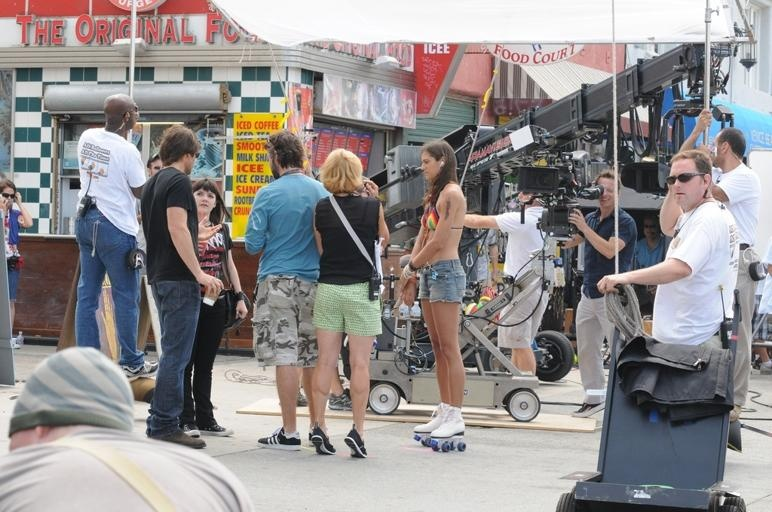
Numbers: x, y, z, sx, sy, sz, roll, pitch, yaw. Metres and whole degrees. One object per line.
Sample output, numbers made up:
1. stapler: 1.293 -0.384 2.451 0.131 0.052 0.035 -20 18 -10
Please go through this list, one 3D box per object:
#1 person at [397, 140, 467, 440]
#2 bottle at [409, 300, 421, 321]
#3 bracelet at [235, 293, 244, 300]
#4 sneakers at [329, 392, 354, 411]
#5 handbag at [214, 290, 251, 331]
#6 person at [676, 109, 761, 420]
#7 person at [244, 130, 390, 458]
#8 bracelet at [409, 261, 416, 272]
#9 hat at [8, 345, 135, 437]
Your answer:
1. person: 0.443 0.277 10.065 0.420 2.563 0.687 -2 7 -29
2. bottle: 0.288 0.517 11.025 0.174 0.161 0.158 1 -8 -3
3. bracelet: -1.311 0.365 10.310 0.052 0.053 0.061 -2 -18 5
4. sneakers: -0.439 1.423 11.176 0.332 0.144 0.128 0 4 1
5. handbag: -1.342 0.486 10.173 0.250 0.341 0.335 -3 -3 39
6. person: 2.993 -0.019 10.422 0.764 2.419 0.745 6 8 32
7. person: -0.826 0.286 9.770 0.765 2.686 0.617 1 6 -9
8. bracelet: 0.238 0.093 10.046 0.076 0.069 0.076 -8 16 34
9. hat: -1.645 0.701 5.974 0.432 0.373 0.531 10 -11 -43
